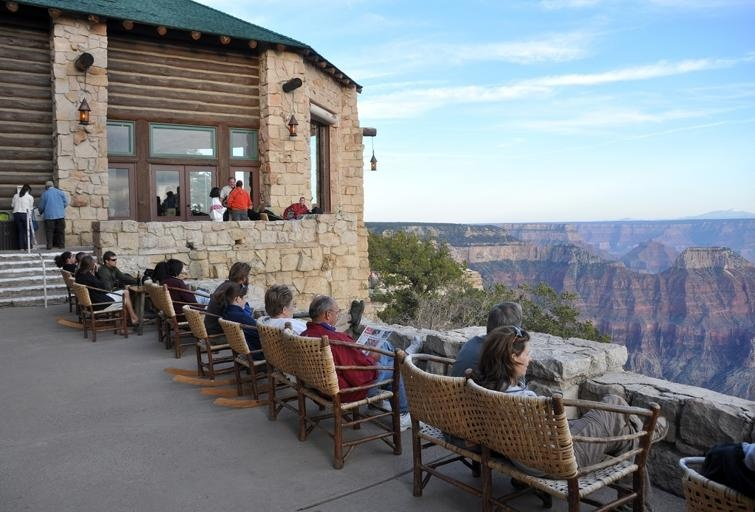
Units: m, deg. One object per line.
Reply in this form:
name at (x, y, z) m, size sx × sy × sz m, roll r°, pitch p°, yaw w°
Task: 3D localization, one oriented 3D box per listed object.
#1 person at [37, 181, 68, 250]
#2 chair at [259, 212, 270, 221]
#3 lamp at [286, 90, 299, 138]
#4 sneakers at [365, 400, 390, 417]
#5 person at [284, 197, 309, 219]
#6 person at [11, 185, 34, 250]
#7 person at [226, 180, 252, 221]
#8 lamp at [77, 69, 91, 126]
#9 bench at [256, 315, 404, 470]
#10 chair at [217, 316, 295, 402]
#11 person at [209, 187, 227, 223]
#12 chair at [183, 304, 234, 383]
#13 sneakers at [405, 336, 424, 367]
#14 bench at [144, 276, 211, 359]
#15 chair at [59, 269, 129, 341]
person at (-7.091, -0.899, 12.583) m, size 0.464 × 1.473 × 0.626 m, roll 3°, pitch 4°, yaw 33°
chair at (-2.754, -0.972, 13.980) m, size 0.234 × 0.207 × 1.499 m, roll 0°, pitch 3°, yaw -11°
lamp at (-2.235, -3.778, 15.176) m, size 0.273 × 1.257 × 0.342 m, roll -1°, pitch 4°, yaw -22°
sneakers at (0.018, 1.559, 5.822) m, size 0.104 × 0.129 × 0.330 m, roll -3°, pitch -7°, yaw 30°
person at (-2.115, -1.268, 14.766) m, size 0.674 × 0.588 × 1.637 m, roll 0°, pitch 3°, yaw -8°
person at (-7.672, -0.860, 12.403) m, size 0.397 × 1.425 × 1.360 m, roll -2°, pitch 4°, yaw -32°
person at (-3.406, -1.364, 13.937) m, size 0.545 × 0.952 × 0.638 m, roll 0°, pitch 4°, yaw -16°
lamp at (-6.606, -3.605, 12.887) m, size 0.260 × 1.229 × 0.458 m, roll -1°, pitch 4°, yaw -29°
bench at (-0.601, 1.269, 5.849) m, size 0.793 × 1.251 × 2.069 m, roll -5°, pitch 2°, yaw -27°
chair at (-1.447, 1.177, 6.307) m, size 0.582 × 0.688 × 0.586 m, roll 23°, pitch 2°, yaw 24°
person at (-3.826, -1.277, 13.720) m, size 0.340 × 0.849 × 1.507 m, roll 0°, pitch 3°, yaw -14°
chair at (-1.907, 1.021, 6.857) m, size 0.678 × 0.846 × 0.708 m, roll -4°, pitch 2°, yaw 10°
sneakers at (0.369, 0.988, 6.044) m, size 0.172 × 0.266 × 0.095 m, roll 10°, pitch -1°, yaw 30°
bench at (-2.664, 0.842, 7.935) m, size 0.771 × 1.046 × 0.802 m, roll 5°, pitch 12°, yaw 25°
chair at (-4.288, 0.727, 8.797) m, size 1.232 × 1.211 × 0.878 m, roll -3°, pitch 6°, yaw -33°
